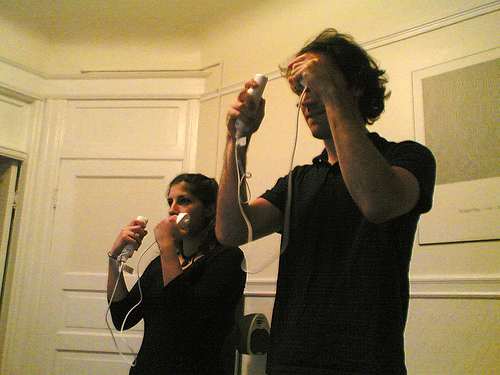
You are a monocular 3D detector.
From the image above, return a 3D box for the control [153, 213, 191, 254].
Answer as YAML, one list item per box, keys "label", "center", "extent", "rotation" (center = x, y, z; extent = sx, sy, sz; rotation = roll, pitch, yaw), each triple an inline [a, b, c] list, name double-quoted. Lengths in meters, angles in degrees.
- label: "control"
  center: [-0.188, 0.113, 1.100]
  extent: [0.048, 0.101, 0.063]
  rotation: [44, -8, -28]

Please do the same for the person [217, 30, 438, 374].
- label: "person"
  center: [0.133, -0.014, 0.814]
  extent: [0.349, 0.726, 0.252]
  rotation: [6, -9, -13]

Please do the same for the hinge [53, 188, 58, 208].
- label: "hinge"
  center: [-0.756, 0.039, 1.646]
  extent: [0.009, 0.081, 0.079]
  rotation: [9, -11, -30]

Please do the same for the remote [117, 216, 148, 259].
- label: "remote"
  center: [-0.307, 0.130, 1.194]
  extent: [0.039, 0.141, 0.048]
  rotation: [37, -20, -22]

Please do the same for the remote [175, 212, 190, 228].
- label: "remote"
  center: [-0.167, 0.081, 1.058]
  extent: [0.034, 0.032, 0.033]
  rotation: [-13, -51, -5]

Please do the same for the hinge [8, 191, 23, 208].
- label: "hinge"
  center: [-0.977, 0.049, 1.770]
  extent: [0.068, 0.059, 0.016]
  rotation: [6, -18, -35]
